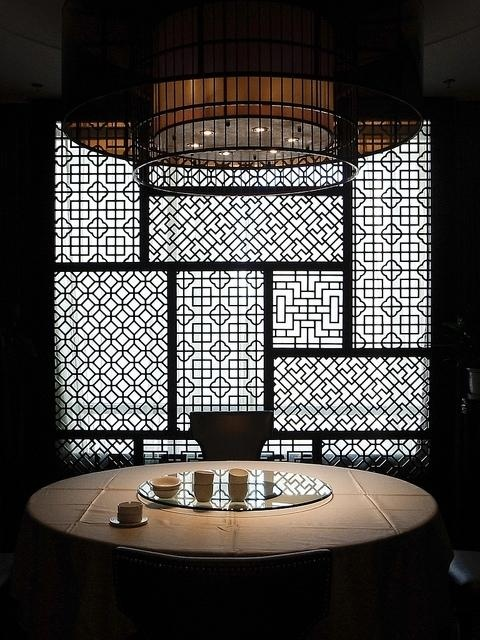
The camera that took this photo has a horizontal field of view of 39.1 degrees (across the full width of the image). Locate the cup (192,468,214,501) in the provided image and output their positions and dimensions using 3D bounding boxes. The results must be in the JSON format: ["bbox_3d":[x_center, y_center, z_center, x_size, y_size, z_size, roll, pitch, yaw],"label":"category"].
[{"bbox_3d":[-0.134,0.610,2.496,0.085,0.126,0.094,0,-5,5],"label":"cup"}]

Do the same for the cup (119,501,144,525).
[{"bbox_3d":[-0.362,0.636,2.214,0.055,0.049,0.060,0,2,0],"label":"cup"}]

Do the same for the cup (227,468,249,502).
[{"bbox_3d":[-0.009,0.615,2.499,0.081,0.139,0.088,0,-4,0],"label":"cup"}]
